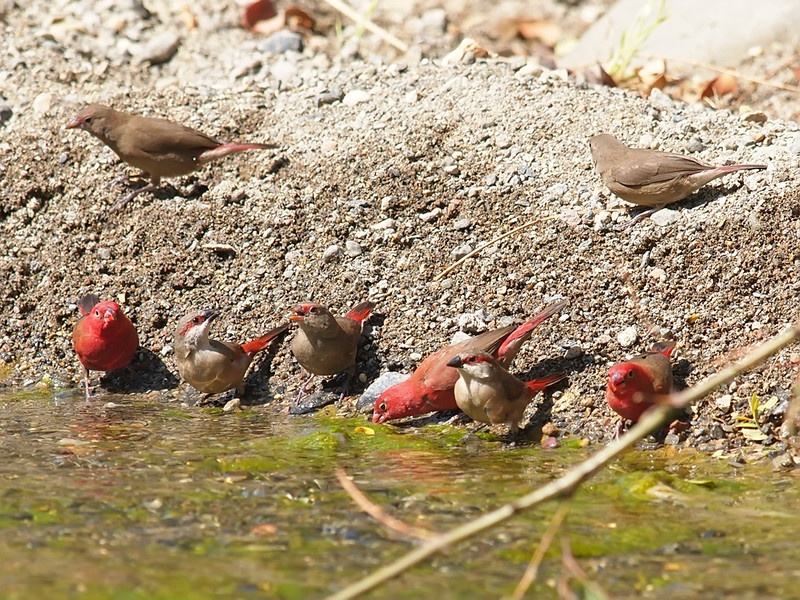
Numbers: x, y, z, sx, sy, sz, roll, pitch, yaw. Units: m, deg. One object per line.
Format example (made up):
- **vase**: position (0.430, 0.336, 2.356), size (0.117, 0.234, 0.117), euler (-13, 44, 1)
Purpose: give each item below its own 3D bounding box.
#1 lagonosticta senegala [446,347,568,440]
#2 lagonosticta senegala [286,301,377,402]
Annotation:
- **lagonosticta senegala**: position (0.716, 0.586, 6.480), size (0.958, 0.500, 0.531), euler (-8, 13, -34)
- **lagonosticta senegala**: position (-0.504, 0.379, 7.013), size (0.527, 0.813, 0.590), euler (33, 32, 30)
